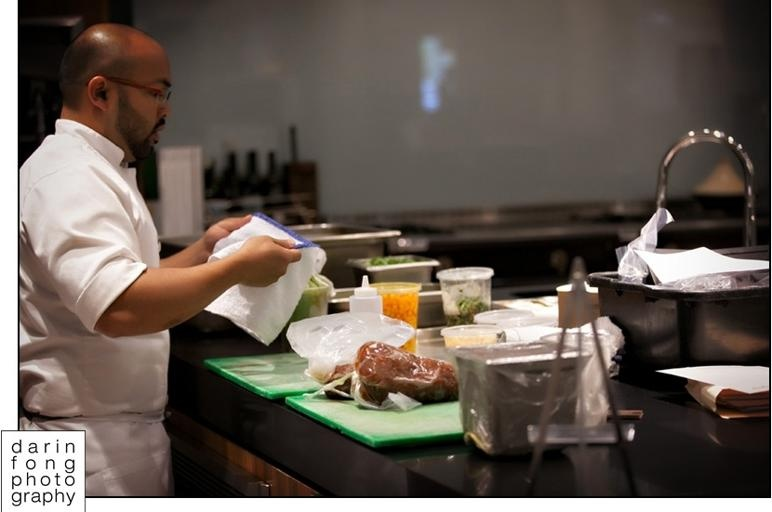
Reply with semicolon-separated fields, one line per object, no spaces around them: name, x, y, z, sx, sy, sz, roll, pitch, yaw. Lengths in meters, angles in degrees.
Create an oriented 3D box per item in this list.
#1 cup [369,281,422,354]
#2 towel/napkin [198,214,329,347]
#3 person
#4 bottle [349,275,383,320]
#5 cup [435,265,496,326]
cup;0.036;0.186;1.709;0.125;0.163;0.127;-3;-24;-2
towel/napkin;-0.303;0.071;1.640;0.328;0.317;0.130;33;-2;3
person;-0.584;0.030;1.558;0.592;1.219;0.529;0;-6;-32
bottle;-0.048;0.121;1.602;0.085;0.136;0.083;-5;-13;-1
cup;0.224;0.127;1.780;0.176;0.158;0.177;-4;1;0
